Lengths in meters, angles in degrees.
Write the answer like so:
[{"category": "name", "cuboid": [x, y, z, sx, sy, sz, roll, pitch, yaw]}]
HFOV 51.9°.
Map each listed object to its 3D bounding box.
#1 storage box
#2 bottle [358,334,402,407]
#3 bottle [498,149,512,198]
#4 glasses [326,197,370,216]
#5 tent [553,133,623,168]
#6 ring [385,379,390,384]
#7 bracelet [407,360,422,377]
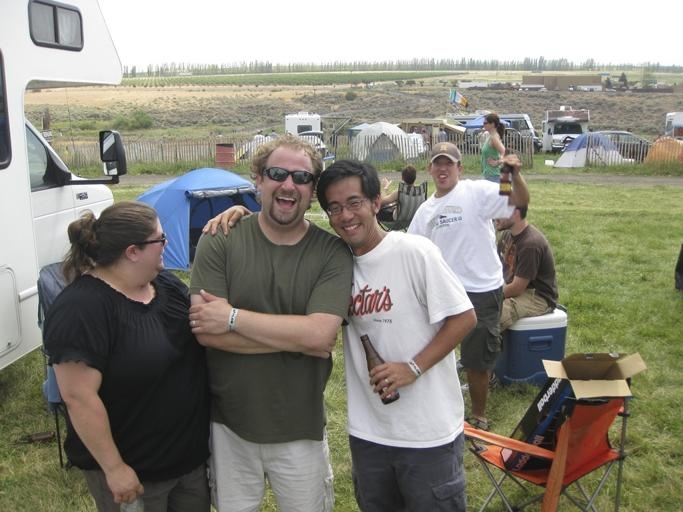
[{"category": "storage box", "cuboid": [1.840, 0.871, 7.065, 0.587, 0.715, 1.021, -1, 8, -4]}, {"category": "bottle", "cuboid": [0.224, 0.691, 4.204, 0.129, 0.393, 0.312, -9, 15, -26]}, {"category": "bottle", "cuboid": [1.208, -0.575, 5.171, 0.092, 0.329, 0.453, 1, 14, 14]}, {"category": "glasses", "cuboid": [0.032, -0.293, 4.226, 0.245, 0.116, 0.080, -2, 14, 1]}, {"category": "tent", "cuboid": [8.219, -3.459, 23.501, 1.451, 0.748, 1.367, -8, 16, -13]}, {"category": "ring", "cuboid": [0.264, 0.742, 4.097, 0.022, 0.024, 0.018, 8, 0, -42]}, {"category": "bracelet", "cuboid": [0.424, 0.670, 4.147, 0.061, 0.097, 0.092, -33, 69, -18]}]
